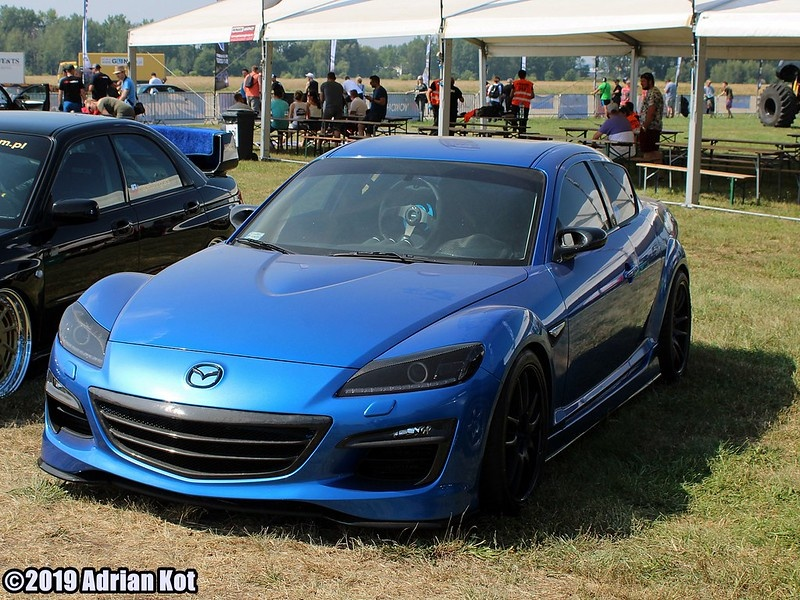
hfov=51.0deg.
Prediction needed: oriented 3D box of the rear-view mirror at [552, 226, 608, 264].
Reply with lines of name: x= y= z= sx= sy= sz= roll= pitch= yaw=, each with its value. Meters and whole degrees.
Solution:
rear-view mirror: x=1.022 y=-0.324 z=4.665 sx=0.256 sy=0.108 sz=0.202 roll=-11 pitch=38 yaw=12

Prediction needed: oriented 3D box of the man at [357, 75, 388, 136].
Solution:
man: x=-0.710 y=-5.095 z=22.611 sx=0.623 sy=1.866 sz=0.743 roll=2 pitch=12 yaw=-25

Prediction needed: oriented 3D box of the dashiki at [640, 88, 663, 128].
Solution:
dashiki: x=5.492 y=-4.042 z=17.791 sx=0.384 sy=0.788 sz=0.721 roll=1 pitch=8 yaw=17

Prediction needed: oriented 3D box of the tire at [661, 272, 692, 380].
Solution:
tire: x=2.081 y=0.194 z=6.204 sx=0.113 sy=0.627 sz=0.542 roll=3 pitch=32 yaw=21

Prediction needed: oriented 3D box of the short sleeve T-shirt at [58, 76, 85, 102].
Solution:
short sleeve T-shirt: x=-7.727 y=-4.828 z=19.237 sx=0.417 sy=0.584 sz=0.753 roll=5 pitch=14 yaw=14

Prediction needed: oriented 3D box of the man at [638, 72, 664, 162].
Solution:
man: x=5.350 y=-3.743 z=17.651 sx=0.605 sy=1.987 sz=0.659 roll=9 pitch=23 yaw=29

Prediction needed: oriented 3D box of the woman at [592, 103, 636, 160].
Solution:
woman: x=4.653 y=-3.614 z=17.696 sx=0.734 sy=1.095 sz=0.818 roll=-21 pitch=33 yaw=-19

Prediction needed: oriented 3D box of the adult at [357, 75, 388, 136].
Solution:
adult: x=-0.701 y=-5.094 z=22.636 sx=0.586 sy=1.875 sz=0.731 roll=3 pitch=11 yaw=-19

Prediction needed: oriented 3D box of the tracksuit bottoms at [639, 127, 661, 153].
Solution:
tracksuit bottoms: x=5.328 y=-3.306 z=17.463 sx=0.378 sy=0.679 sz=0.679 roll=-2 pitch=-2 yaw=10

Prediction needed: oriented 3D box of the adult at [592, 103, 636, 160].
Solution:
adult: x=4.619 y=-3.650 z=17.661 sx=0.685 sy=1.056 sz=0.804 roll=-18 pitch=33 yaw=-6

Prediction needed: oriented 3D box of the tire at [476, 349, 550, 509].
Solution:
tire: x=0.578 y=0.621 z=4.045 sx=0.187 sy=0.656 sz=0.627 roll=4 pitch=-9 yaw=31

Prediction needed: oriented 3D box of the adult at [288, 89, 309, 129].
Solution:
adult: x=-2.807 y=-5.176 z=22.813 sx=0.588 sy=1.048 sz=0.564 roll=-8 pitch=30 yaw=-22

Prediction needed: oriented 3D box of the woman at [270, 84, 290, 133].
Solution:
woman: x=-3.359 y=-5.175 z=22.746 sx=0.669 sy=1.084 sz=0.674 roll=0 pitch=7 yaw=3

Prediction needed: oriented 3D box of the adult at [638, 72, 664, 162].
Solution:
adult: x=5.349 y=-3.751 z=17.650 sx=0.591 sy=1.990 sz=0.675 roll=9 pitch=23 yaw=29
